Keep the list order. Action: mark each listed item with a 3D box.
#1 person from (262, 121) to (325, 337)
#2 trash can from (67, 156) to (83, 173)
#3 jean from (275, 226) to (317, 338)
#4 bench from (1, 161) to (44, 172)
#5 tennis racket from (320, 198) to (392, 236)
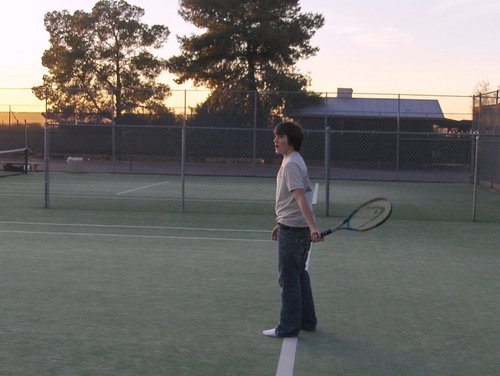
[{"bbox_3d":[0.454,0.502,7.056,0.593,2.493,0.562,0,3,1],"label":"person"},{"bbox_3d":[-8.377,-1.082,29.652,0.818,0.795,0.645,0,-1,-12],"label":"trash can"},{"bbox_3d":[0.547,1.094,7.188,0.494,1.308,0.323,0,3,-11],"label":"jean"},{"bbox_3d":[-11.478,-1.085,31.493,1.686,0.460,5.146,-1,3,-16],"label":"bench"},{"bbox_3d":[1.368,0.339,7.446,0.648,0.455,1.165,1,3,12],"label":"tennis racket"}]
